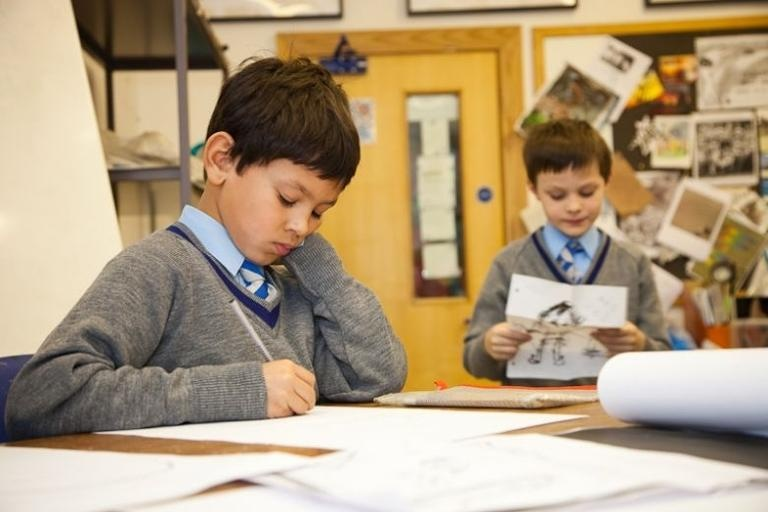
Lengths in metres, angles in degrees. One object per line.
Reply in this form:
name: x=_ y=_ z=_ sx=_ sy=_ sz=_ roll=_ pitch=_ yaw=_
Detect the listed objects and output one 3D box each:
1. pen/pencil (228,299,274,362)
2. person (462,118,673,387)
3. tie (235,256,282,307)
pen/pencil: x=-0.268 y=0.152 z=1.403 sx=0.019 sy=0.130 sz=0.018 roll=-27 pitch=5 yaw=25
person: x=0.505 y=0.067 z=2.010 sx=0.565 sy=0.863 sz=0.496 roll=-1 pitch=-12 yaw=19
tie: x=-0.270 y=0.060 z=1.485 sx=0.029 sy=0.095 sz=0.071 roll=-26 pitch=2 yaw=32
